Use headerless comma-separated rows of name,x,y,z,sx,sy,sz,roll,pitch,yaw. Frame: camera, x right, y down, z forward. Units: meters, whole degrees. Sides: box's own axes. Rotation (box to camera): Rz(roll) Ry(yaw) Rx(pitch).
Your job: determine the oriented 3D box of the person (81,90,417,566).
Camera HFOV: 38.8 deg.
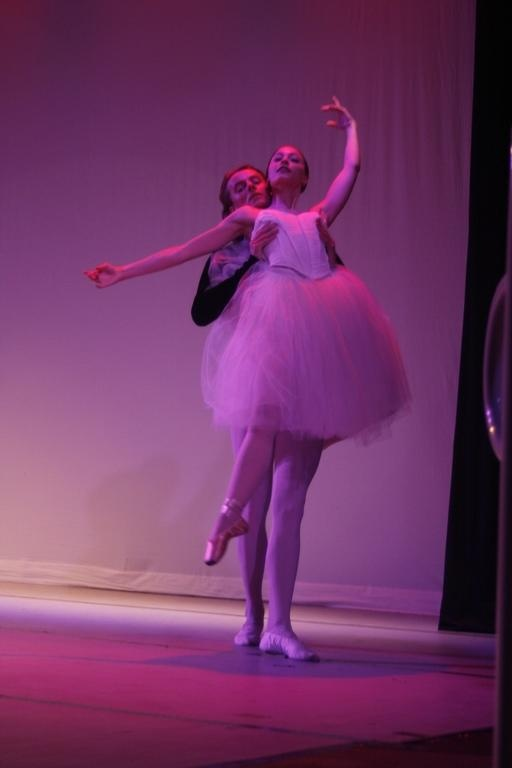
person,0.001,-0.158,1.660,0.642,1.119,0.345,-1,-12,-10
